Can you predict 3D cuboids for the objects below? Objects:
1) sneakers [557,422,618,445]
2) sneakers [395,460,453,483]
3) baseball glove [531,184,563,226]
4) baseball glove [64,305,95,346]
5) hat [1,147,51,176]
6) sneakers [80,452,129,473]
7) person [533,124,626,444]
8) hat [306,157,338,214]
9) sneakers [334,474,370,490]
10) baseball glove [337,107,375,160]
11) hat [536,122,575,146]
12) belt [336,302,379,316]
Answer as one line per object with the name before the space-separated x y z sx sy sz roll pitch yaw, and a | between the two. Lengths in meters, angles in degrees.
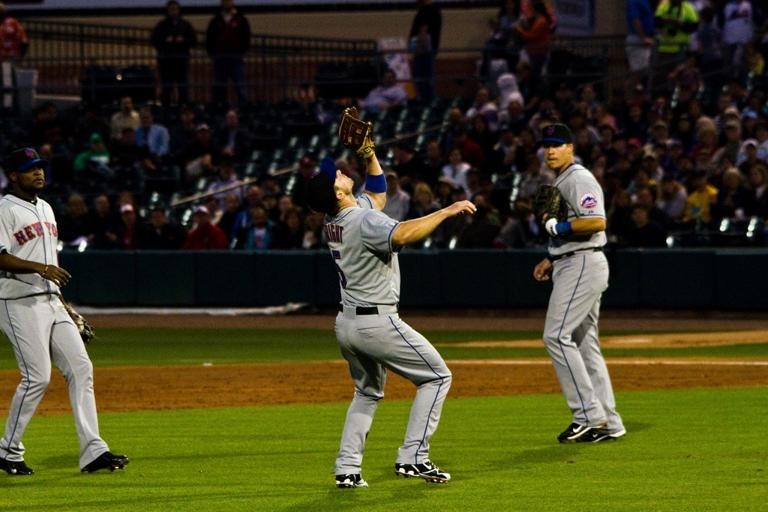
sneakers | 2.180 1.903 14.508 0.703 0.252 0.218 0 -1 -7
sneakers | 0.387 2.173 13.640 0.616 0.235 0.208 2 0 -10
baseball glove | 1.829 -0.577 14.656 0.329 0.396 0.143 -39 -28 31
baseball glove | -3.266 0.750 14.230 0.170 0.438 0.326 -46 1 12
hat | -3.771 -0.990 14.069 0.386 0.187 0.279 -5 3 34
sneakers | -2.828 2.117 13.872 0.594 0.219 0.185 -1 2 -4
person | 2.095 0.277 14.518 0.862 3.331 1.036 -2 14 -2
hat | -0.614 -0.699 13.486 0.341 0.497 0.356 1 10 -31
sneakers | -0.331 2.253 13.480 0.325 0.133 0.143 1 -2 -16
baseball glove | -0.228 -1.302 14.065 0.409 0.501 0.288 20 33 35
hat | 1.897 -1.322 14.688 0.349 0.220 0.554 -6 -5 33
belt | -0.273 0.529 13.514 0.436 0.100 0.097 4 14 25
